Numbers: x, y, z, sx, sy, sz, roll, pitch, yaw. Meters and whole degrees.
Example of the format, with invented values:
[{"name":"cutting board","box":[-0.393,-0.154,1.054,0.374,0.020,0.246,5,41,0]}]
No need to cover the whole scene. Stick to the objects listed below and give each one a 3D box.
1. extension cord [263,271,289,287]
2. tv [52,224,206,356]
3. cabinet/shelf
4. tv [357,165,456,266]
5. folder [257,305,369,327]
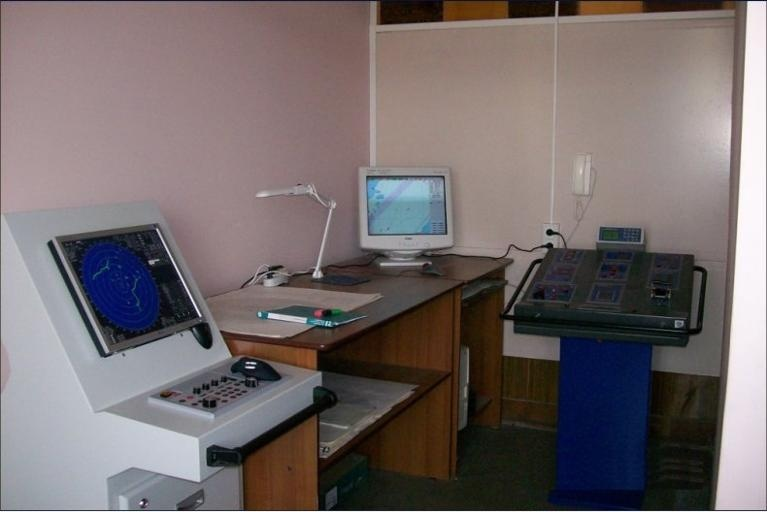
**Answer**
[{"name":"extension cord","box":[-0.526,0.116,2.794,0.116,0.068,0.105,-8,15,-12]},{"name":"tv","box":[-0.812,0.096,1.843,0.076,0.391,0.445,-28,-7,34]},{"name":"cabinet/shelf","box":[0.094,0.652,2.862,0.768,1.203,1.934,1,16,21]},{"name":"tv","box":[0.126,-0.236,3.339,0.649,0.604,0.345,0,-2,-6]},{"name":"folder","box":[-0.277,0.227,2.264,0.410,0.049,0.218,1,15,18]}]
